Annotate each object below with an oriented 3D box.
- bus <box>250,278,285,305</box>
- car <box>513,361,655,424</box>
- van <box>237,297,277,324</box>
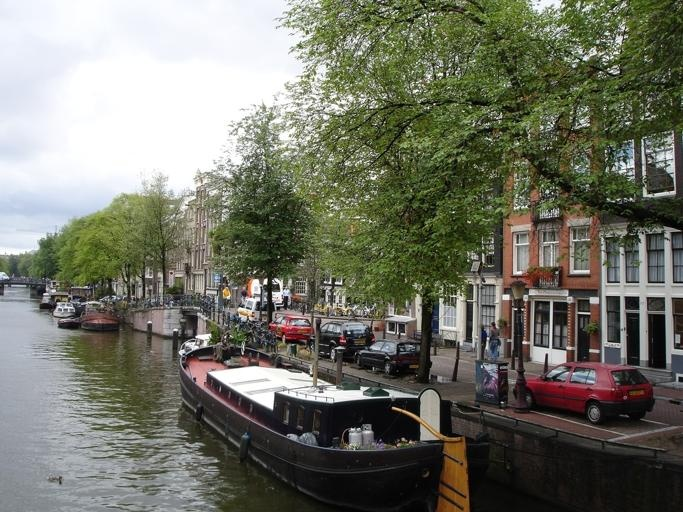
[{"bbox_3d":[-5.976,3.006,50.001,2.263,2.284,3.797,-1,3,-12],"label":"bus"},{"bbox_3d":[7.727,4.173,19.679,1.814,1.286,2.914,2,-1,-37],"label":"car"},{"bbox_3d":[-6.024,3.722,43.106,1.438,1.407,2.604,0,3,-20],"label":"van"}]
